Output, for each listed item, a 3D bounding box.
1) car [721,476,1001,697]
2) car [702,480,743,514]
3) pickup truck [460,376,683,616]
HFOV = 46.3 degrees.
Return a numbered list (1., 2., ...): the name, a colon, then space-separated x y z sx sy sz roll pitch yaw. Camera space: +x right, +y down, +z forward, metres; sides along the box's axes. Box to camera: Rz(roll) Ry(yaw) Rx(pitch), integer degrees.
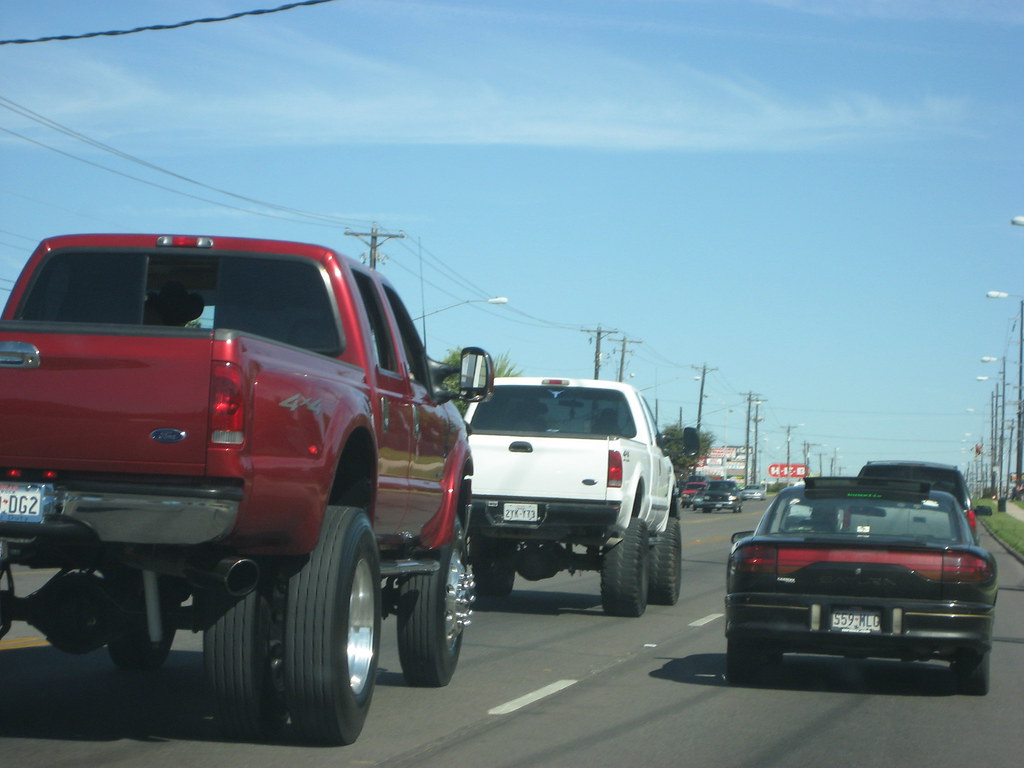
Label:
1. car: 2.874 1.603 9.911 1.764 1.072 2.793 0 0 13
2. car: 12.277 6.605 70.034 2.400 1.758 4.560 -1 -7 10
3. pickup truck: 0.875 1.295 15.477 2.288 1.726 3.798 -1 -7 13
